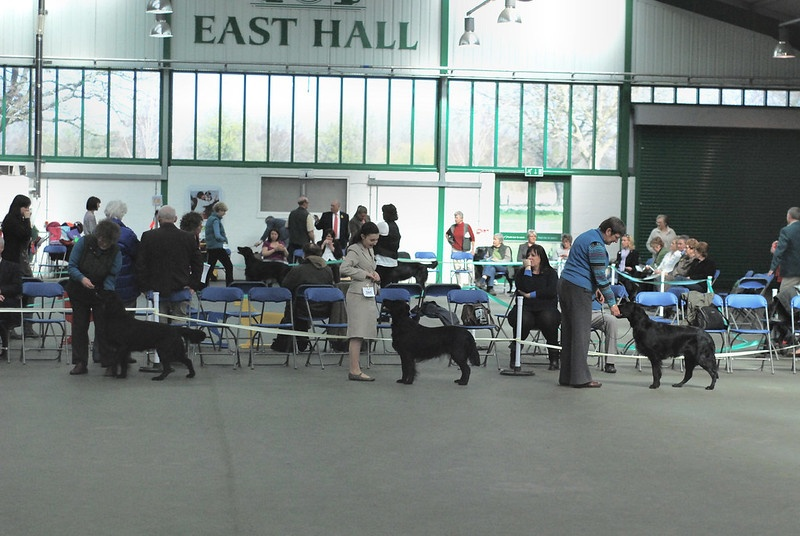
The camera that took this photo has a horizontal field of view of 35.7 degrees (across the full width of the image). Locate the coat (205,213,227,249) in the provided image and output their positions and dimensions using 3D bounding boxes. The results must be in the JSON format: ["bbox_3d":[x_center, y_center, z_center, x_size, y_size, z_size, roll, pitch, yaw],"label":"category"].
[{"bbox_3d":[-3.991,-0.798,27.107,0.522,0.853,0.760,-1,3,-18],"label":"coat"}]

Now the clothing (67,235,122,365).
[{"bbox_3d":[-5.134,0.453,20.897,0.867,2.599,0.902,5,24,-12],"label":"clothing"}]

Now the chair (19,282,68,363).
[{"bbox_3d":[-6.328,0.978,22.110,0.846,1.258,1.012,1,11,-6],"label":"chair"}]

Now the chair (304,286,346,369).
[{"bbox_3d":[-1.214,1.082,21.786,0.868,1.368,1.008,2,1,-19],"label":"chair"}]

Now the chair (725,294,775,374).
[{"bbox_3d":[6.234,1.209,22.531,0.813,1.348,1.002,0,2,5],"label":"chair"}]

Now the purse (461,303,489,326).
[{"bbox_3d":[1.323,0.880,22.128,0.407,0.397,0.310,6,-4,-9],"label":"purse"}]

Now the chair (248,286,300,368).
[{"bbox_3d":[-2.261,1.088,21.889,0.993,1.401,1.177,0,0,11],"label":"chair"}]

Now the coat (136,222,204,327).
[{"bbox_3d":[-3.999,0.282,21.502,1.100,2.307,0.744,-1,2,-20],"label":"coat"}]

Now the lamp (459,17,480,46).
[{"bbox_3d":[1.754,-6.258,32.615,0.483,0.878,1.245,-1,1,3],"label":"lamp"}]

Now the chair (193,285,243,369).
[{"bbox_3d":[-3.177,1.075,21.700,0.875,1.316,1.009,1,5,-14],"label":"chair"}]

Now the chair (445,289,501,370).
[{"bbox_3d":[1.533,1.013,22.811,1.111,1.823,1.342,-1,-1,-19],"label":"chair"}]

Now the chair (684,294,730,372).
[{"bbox_3d":[5.459,1.100,22.471,0.799,1.246,0.870,0,12,-12],"label":"chair"}]
